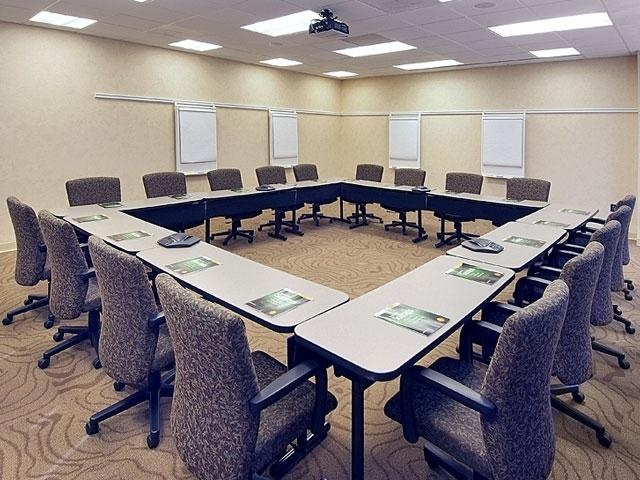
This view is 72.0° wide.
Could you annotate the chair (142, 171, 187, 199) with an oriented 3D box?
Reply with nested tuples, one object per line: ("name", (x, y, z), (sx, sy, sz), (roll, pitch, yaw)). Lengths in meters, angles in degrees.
("chair", (-2.124, -0.771, 5.942), (0.495, 0.458, 0.459), (-9, 16, -36))

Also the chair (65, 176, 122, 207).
("chair", (-2.651, -0.576, 5.185), (0.576, 0.310, 0.374), (-8, 13, -34))

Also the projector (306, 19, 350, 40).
("projector", (0.157, -2.490, 5.204), (0.449, 0.138, 0.459), (-9, 14, -41))

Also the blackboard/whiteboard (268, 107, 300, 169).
("blackboard/whiteboard", (-0.791, -2.179, 9.489), (0.093, 1.221, 0.860), (10, 16, 40))

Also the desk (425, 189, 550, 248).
("desk", (2.152, -0.260, 6.061), (1.590, 0.648, 0.572), (10, 14, 28))

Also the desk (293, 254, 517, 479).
("desk", (0.469, 0.728, 2.403), (0.520, 0.539, 1.343), (13, 19, 41))

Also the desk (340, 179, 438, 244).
("desk", (0.999, -0.536, 7.050), (1.498, 0.585, 0.457), (6, 3, -8))

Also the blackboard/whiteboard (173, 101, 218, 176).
("blackboard/whiteboard", (-2.232, -1.812, 7.934), (0.143, 1.254, 0.856), (9, 15, 36))

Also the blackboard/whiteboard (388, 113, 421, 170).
("blackboard/whiteboard", (1.910, -2.227, 9.858), (0.826, 1.197, 0.124), (10, 17, 41))
